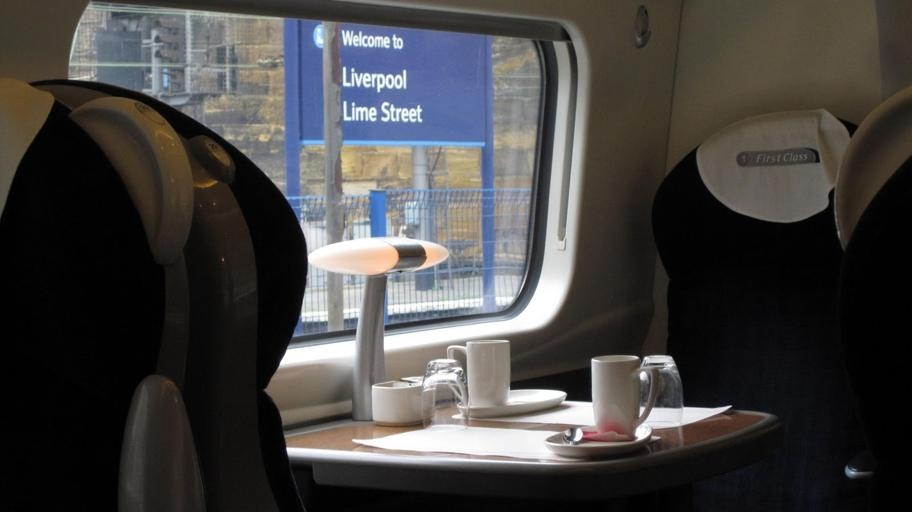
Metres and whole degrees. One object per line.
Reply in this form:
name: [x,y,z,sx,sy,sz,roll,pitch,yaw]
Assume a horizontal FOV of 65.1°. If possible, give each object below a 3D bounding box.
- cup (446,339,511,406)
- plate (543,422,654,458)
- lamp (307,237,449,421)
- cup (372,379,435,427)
cup: [0.064,0.333,2.107,0.169,0.193,0.137,0,8,-6]
plate: [0.370,0.457,1.781,0.322,0.043,0.170,-1,7,-10]
lamp: [-0.271,0.245,2.295,0.206,0.596,0.633,2,2,40]
cup: [-0.154,0.413,2.096,0.135,0.096,0.137,0,3,0]
